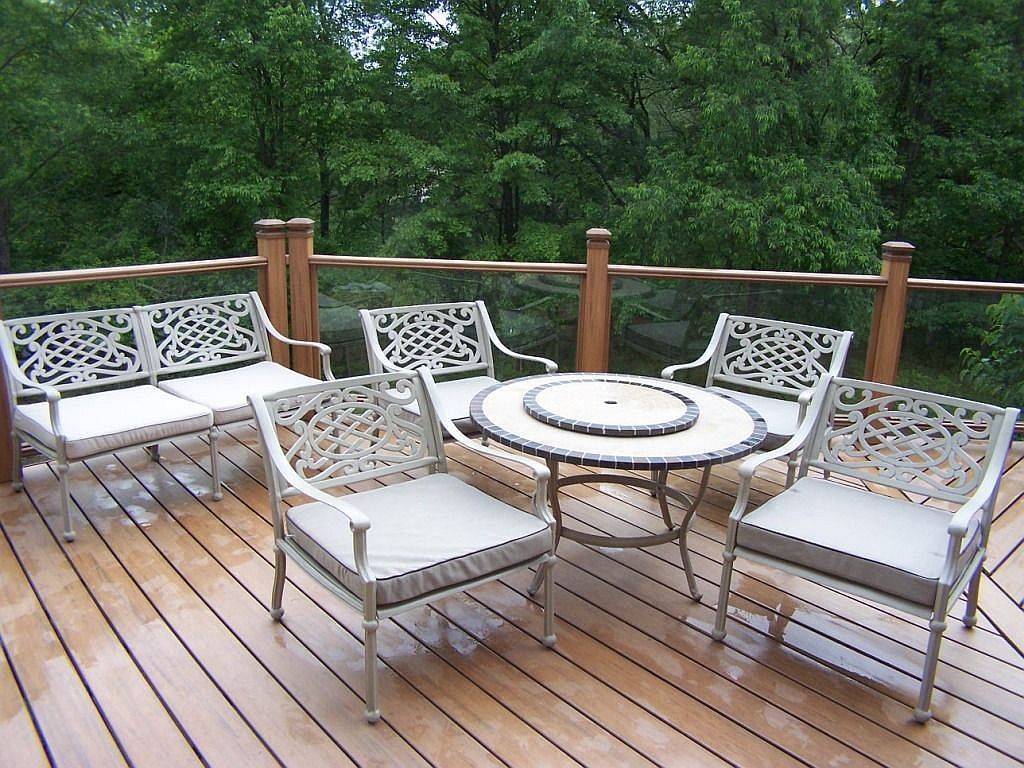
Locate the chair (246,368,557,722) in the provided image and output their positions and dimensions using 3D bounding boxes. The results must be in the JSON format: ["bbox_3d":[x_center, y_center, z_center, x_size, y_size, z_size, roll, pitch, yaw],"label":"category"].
[{"bbox_3d":[-0.425,0.512,2.972,1.092,0.787,1.096,-4,19,-20],"label":"chair"}]

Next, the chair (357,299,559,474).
[{"bbox_3d":[-0.295,0.069,4.230,0.814,0.984,0.699,-11,18,-36],"label":"chair"}]

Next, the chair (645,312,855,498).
[{"bbox_3d":[1.206,0.105,3.771,0.817,0.972,0.647,17,26,35],"label":"chair"}]

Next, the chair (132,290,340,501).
[{"bbox_3d":[-1.548,-0.069,4.287,0.876,0.661,1.035,-11,23,-33],"label":"chair"}]

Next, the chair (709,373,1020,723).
[{"bbox_3d":[1.348,0.537,2.965,0.807,0.980,0.868,14,23,34],"label":"chair"}]
